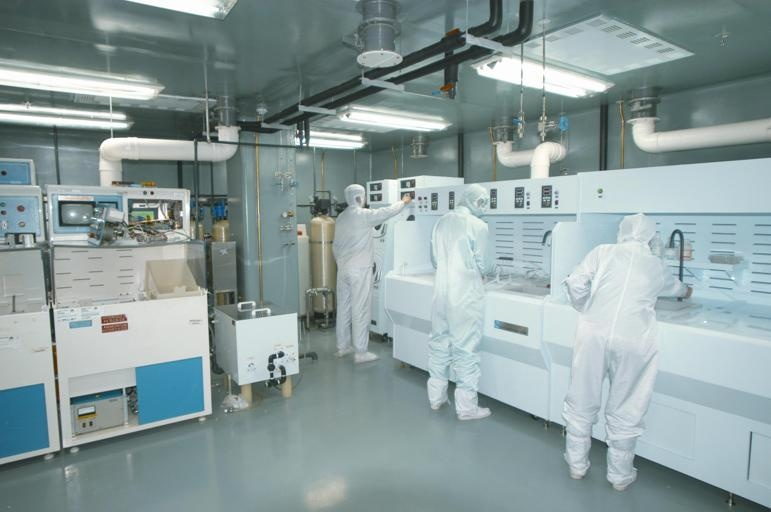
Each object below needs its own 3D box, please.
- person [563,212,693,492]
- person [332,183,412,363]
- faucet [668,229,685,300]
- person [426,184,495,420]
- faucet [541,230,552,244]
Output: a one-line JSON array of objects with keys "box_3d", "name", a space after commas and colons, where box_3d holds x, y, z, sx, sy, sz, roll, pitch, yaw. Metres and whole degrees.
[{"box_3d": [1.944, 0.788, 4.492, 0.794, 2.228, 0.705, 2, 9, 27], "name": "person"}, {"box_3d": [-0.341, 0.201, 6.761, 0.711, 2.185, 0.700, -10, 11, -42], "name": "person"}, {"box_3d": [2.722, 0.001, 4.915, 0.178, 0.481, 0.047, -2, 6, -17], "name": "faucet"}, {"box_3d": [0.739, 0.593, 5.365, 0.645, 2.044, 0.592, -1, 9, 11], "name": "person"}, {"box_3d": [1.725, -0.185, 5.646, 0.101, 0.168, 0.309, 0, 8, 16], "name": "faucet"}]
